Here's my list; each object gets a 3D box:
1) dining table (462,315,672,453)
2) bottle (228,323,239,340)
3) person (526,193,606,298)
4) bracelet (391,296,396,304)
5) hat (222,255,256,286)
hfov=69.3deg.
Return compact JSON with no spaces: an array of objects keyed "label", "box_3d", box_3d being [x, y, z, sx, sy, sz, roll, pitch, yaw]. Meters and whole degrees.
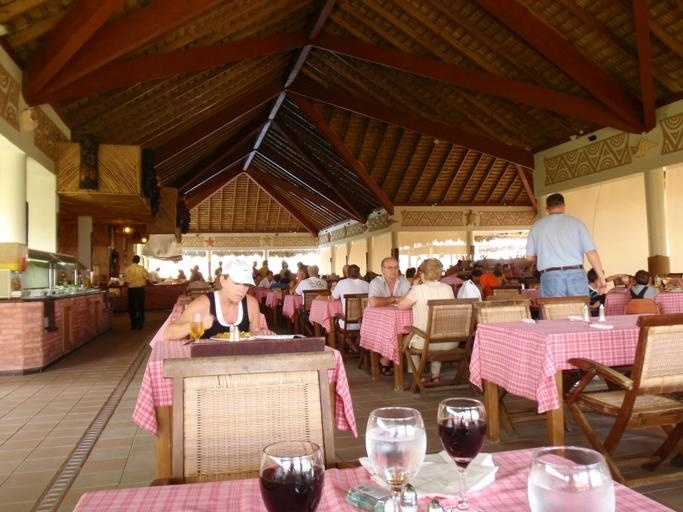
[{"label":"dining table","box_3d":[1.727,1.049,3.784,1.398,0.971,1.578,5,-7,14]},{"label":"bottle","box_3d":[-0.581,0.409,2.668,0.040,0.077,0.136,-2,0,-7]},{"label":"person","box_3d":[2.202,0.177,4.914,0.698,1.594,0.502,-1,11,19]},{"label":"bracelet","box_3d":[0.584,0.499,5.583,0.015,0.056,0.044,10,34,42]},{"label":"hat","box_3d":[-0.682,0.088,3.221,0.210,0.150,0.296,16,1,-39]}]
